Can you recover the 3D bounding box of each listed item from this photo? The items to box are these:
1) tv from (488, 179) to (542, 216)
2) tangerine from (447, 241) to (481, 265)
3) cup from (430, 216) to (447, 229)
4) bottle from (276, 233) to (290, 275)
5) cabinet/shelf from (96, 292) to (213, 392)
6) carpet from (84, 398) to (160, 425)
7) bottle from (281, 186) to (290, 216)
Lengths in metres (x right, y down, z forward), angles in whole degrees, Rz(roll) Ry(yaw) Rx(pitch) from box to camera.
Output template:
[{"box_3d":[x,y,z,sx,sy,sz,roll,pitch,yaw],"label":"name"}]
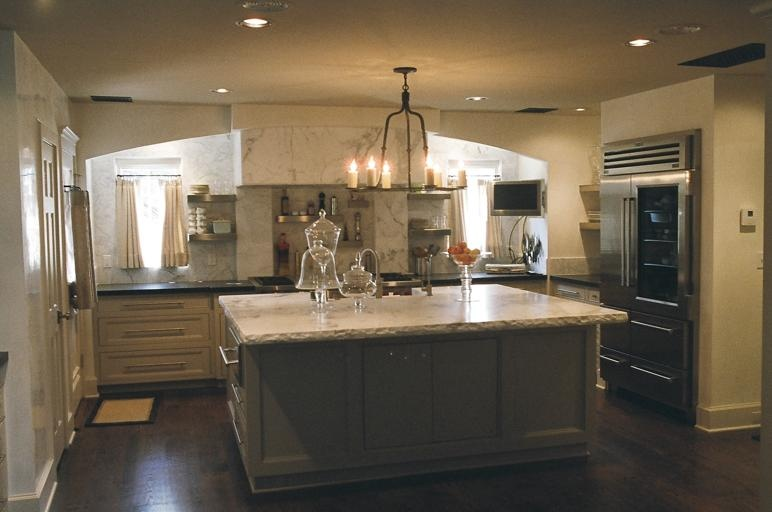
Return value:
[{"box_3d":[1.619,-0.720,7.609,0.551,0.342,0.075,2,5,24],"label":"tv"},{"box_3d":[0.656,-0.015,5.166,0.234,0.137,0.219,1,-3,1],"label":"tangerine"},{"box_3d":[0.655,-0.440,7.665,0.190,0.164,0.176,2,11,0],"label":"cup"},{"box_3d":[-1.227,-0.020,7.248,0.154,0.490,0.217,-2,10,-9],"label":"bottle"},{"box_3d":[-2.447,0.886,6.815,1.441,0.943,0.500,-4,-4,7],"label":"cabinet/shelf"},{"box_3d":[-2.620,1.547,6.091,0.542,0.043,0.758,-3,10,-17],"label":"carpet"},{"box_3d":[-1.206,-0.642,7.213,0.111,0.307,0.235,-2,10,-8],"label":"bottle"}]
